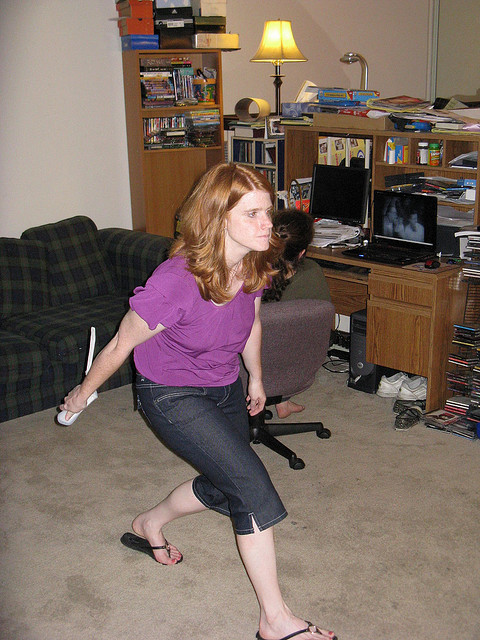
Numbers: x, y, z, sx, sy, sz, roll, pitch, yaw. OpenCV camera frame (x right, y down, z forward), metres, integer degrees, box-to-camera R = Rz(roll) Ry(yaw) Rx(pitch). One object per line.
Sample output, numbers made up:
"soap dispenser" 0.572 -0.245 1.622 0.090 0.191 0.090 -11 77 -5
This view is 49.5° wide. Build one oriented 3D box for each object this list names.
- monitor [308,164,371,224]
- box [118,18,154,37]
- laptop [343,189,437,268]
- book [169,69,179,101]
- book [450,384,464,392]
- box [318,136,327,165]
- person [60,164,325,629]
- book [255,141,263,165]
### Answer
"monitor" 0.673 -0.845 3.468 0.561 0.465 0.057 24 24 40
"box" -0.799 -2.196 3.969 0.186 0.110 0.179 -10 31 -19
"laptop" 0.837 -0.525 2.936 0.305 0.342 0.463 -19 26 -34
"book" -0.521 -1.877 4.137 0.055 0.202 0.075 -7 10 -9
"book" 1.182 0.371 2.837 0.071 0.029 0.067 3 13 21
"box" 0.597 -1.245 3.812 0.046 0.191 0.119 -6 13 -22
"person" -0.071 0.213 1.571 0.580 1.258 1.073 0 12 7
"book" 0.151 -1.340 4.146 0.085 0.150 0.158 2 19 5
